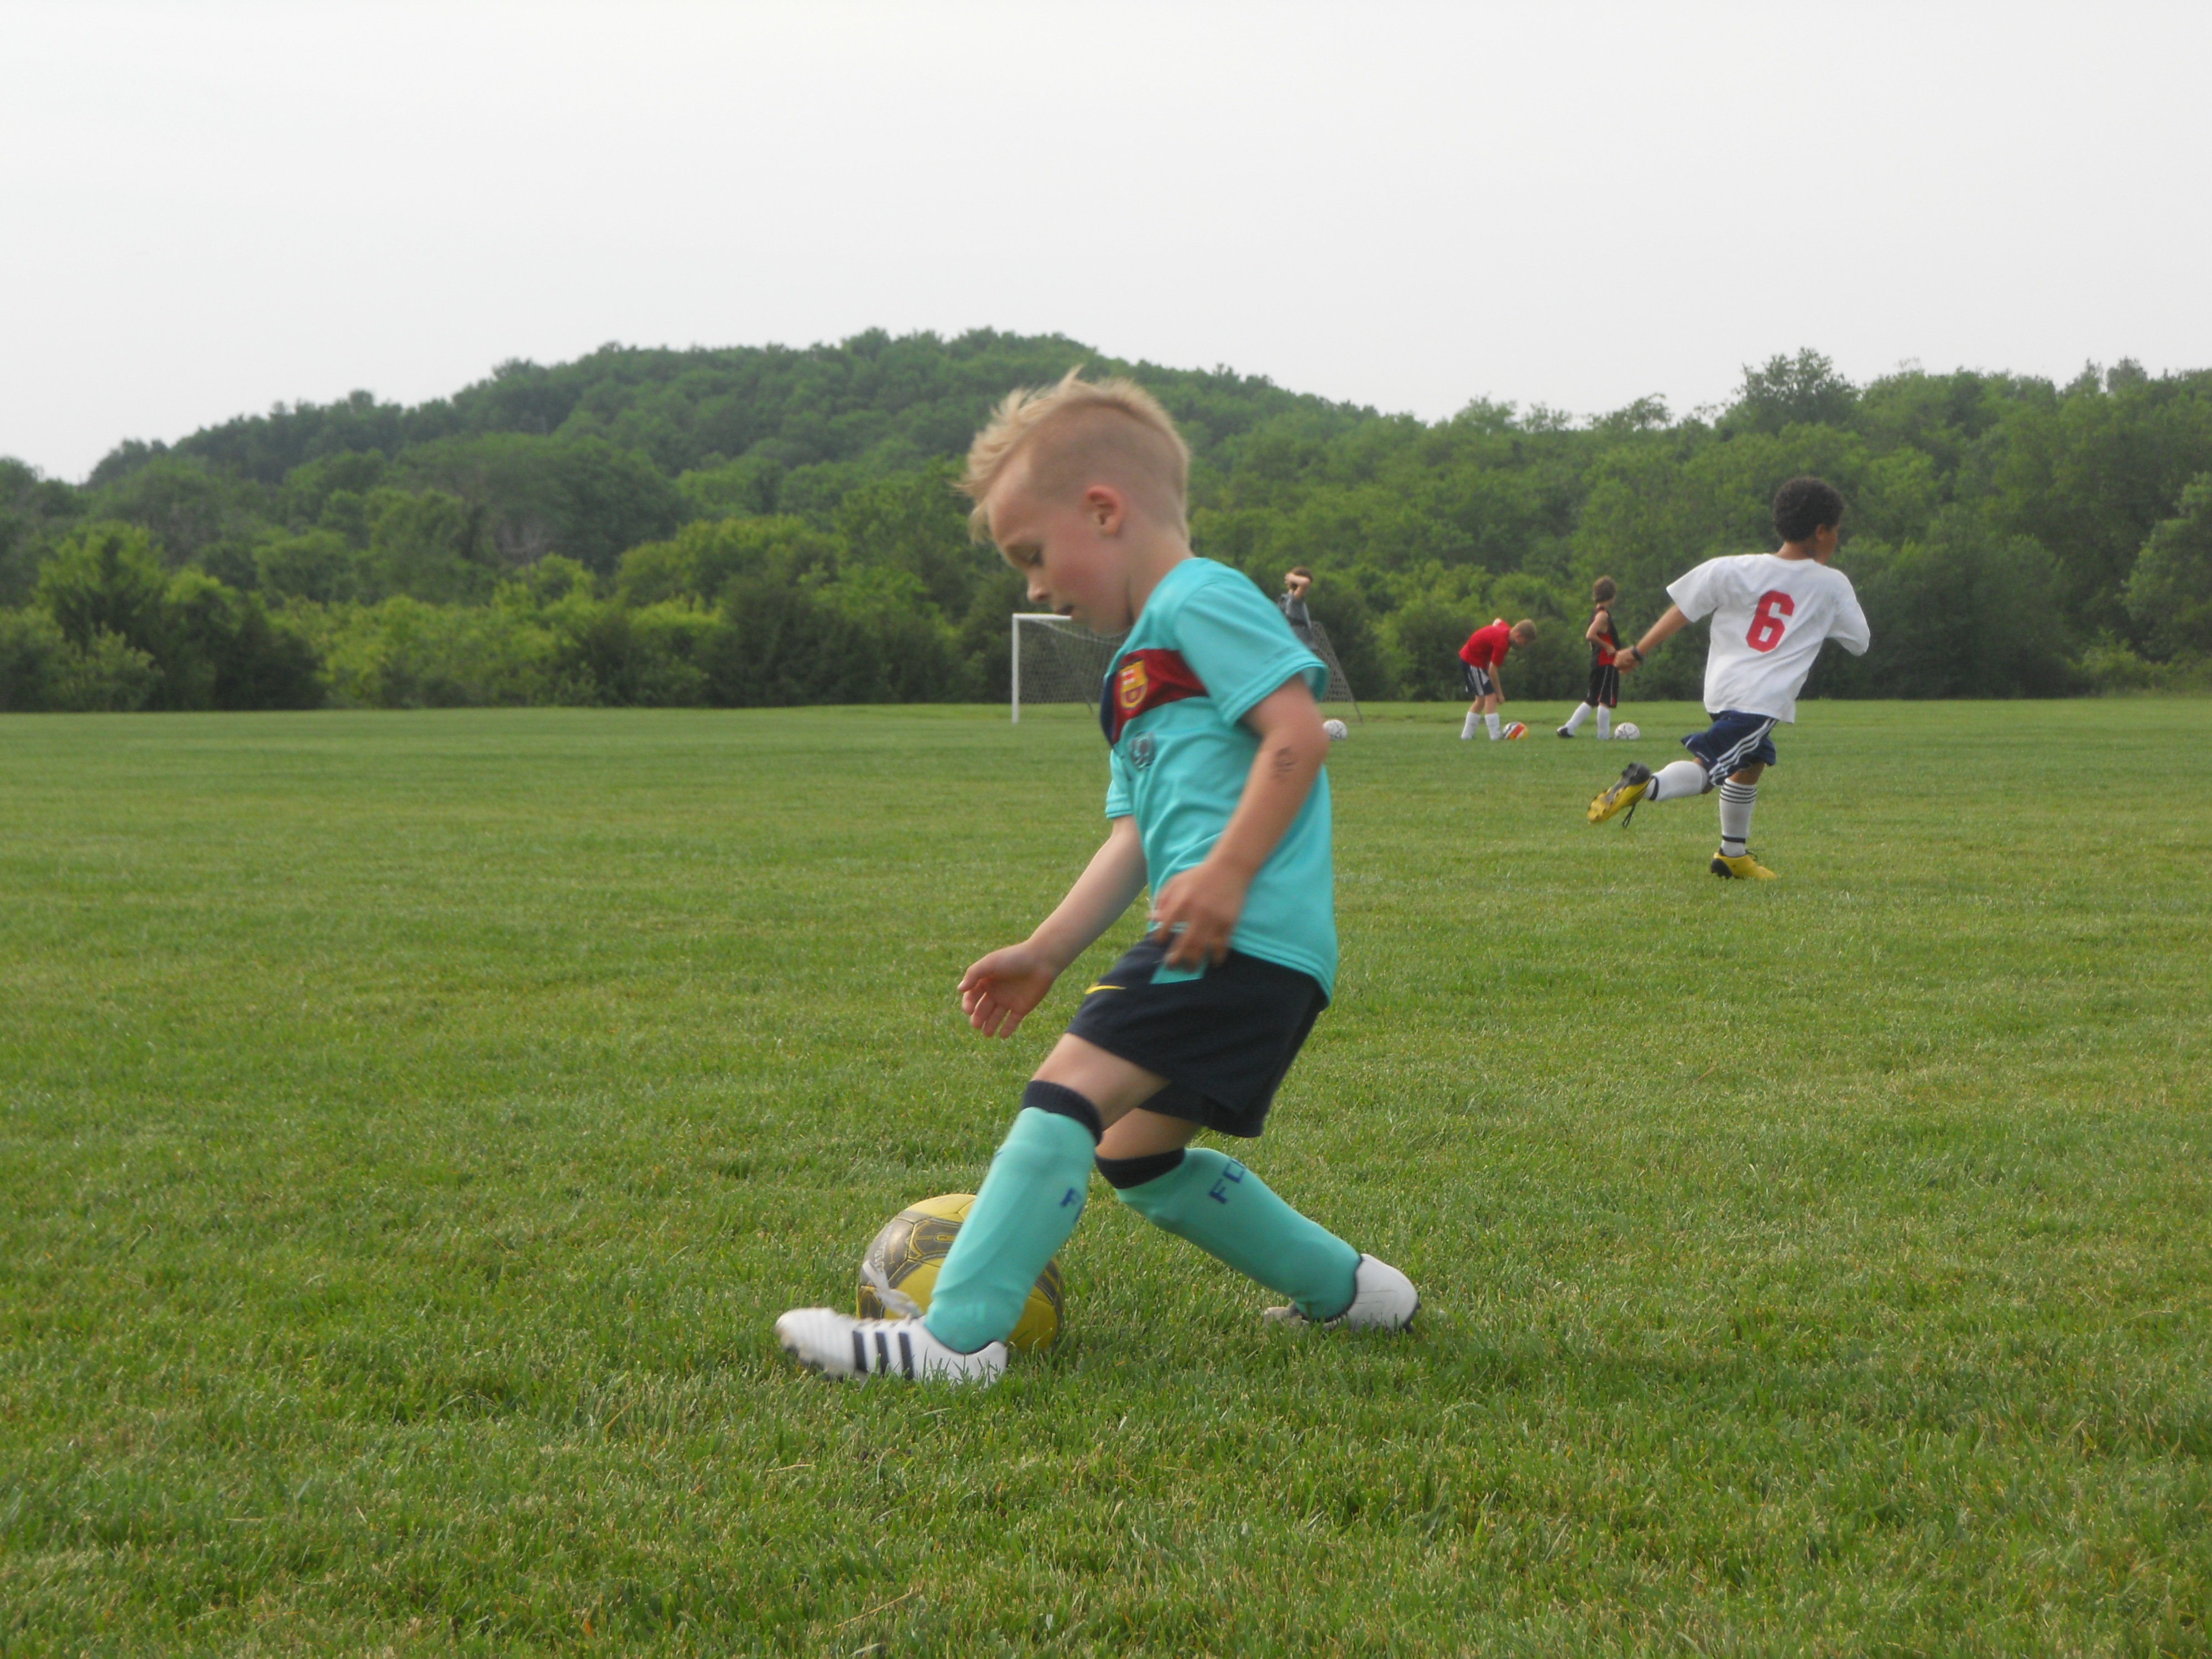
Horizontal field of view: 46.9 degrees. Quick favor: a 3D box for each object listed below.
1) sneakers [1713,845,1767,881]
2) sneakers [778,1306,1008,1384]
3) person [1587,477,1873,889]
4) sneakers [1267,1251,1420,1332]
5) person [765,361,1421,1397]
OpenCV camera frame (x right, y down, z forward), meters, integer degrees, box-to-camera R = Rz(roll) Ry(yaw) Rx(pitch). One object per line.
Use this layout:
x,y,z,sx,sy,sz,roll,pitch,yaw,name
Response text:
3.049,0.165,12.272,0.319,0.142,0.108,13,6,15,sneakers
-0.467,1.131,5.657,0.482,0.178,0.173,14,-9,11,sneakers
3.123,-0.724,12.488,1.119,1.935,1.118,2,11,11,person
0.560,1.062,5.936,0.365,0.148,0.121,4,0,2,sneakers
0.102,0.113,5.645,1.187,2.172,0.756,1,11,6,person
